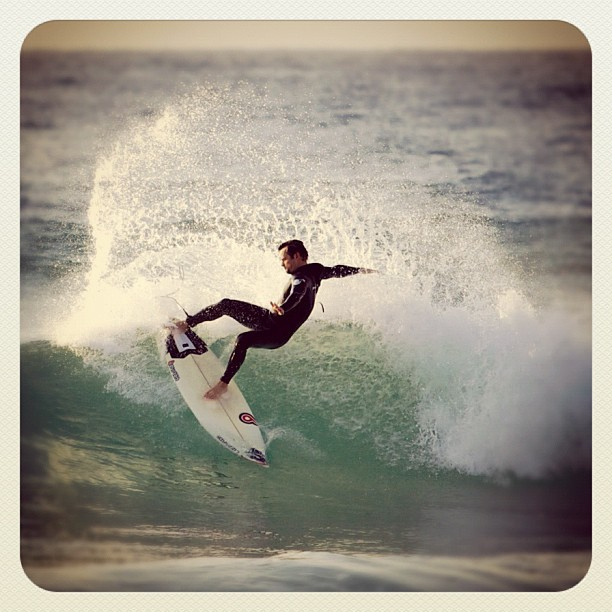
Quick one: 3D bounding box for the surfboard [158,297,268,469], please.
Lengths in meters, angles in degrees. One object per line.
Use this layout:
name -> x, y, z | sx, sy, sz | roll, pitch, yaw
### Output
surfboard -> -0.832, 0.601, 7.785 | 0.435, 0.240, 1.634 | -43, 99, -14

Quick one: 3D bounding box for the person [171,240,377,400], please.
person -> 0.032, 0.069, 8.133 | 1.563, 0.903, 1.065 | 28, 101, 15
